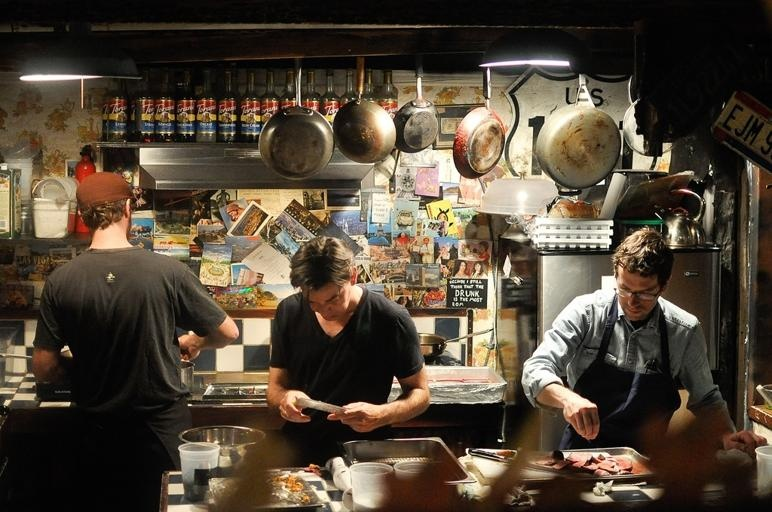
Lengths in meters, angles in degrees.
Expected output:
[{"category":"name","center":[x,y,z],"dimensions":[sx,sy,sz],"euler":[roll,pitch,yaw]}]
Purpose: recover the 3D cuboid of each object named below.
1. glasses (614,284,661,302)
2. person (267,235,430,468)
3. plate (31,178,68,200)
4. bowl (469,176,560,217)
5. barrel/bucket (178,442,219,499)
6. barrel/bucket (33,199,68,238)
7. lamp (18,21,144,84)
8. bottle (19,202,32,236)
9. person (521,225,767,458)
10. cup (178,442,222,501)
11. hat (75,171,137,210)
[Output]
[{"category":"glasses","center":[1.211,0.182,3.971],"dimensions":[0.187,0.051,0.094],"euler":[2,0,11]},{"category":"person","center":[-0.185,0.470,4.034],"dimensions":[0.803,0.966,0.430],"euler":[2,-1,3]},{"category":"plate","center":[-2.084,-0.407,5.159],"dimensions":[0.190,0.147,0.067],"euler":[-12,15,3]},{"category":"bowl","center":[0.738,-0.423,5.273],"dimensions":[0.615,0.185,0.552],"euler":[8,15,-7]},{"category":"barrel/bucket","center":[-0.711,0.846,3.330],"dimensions":[0.225,0.203,0.212],"euler":[1,-3,0]},{"category":"barrel/bucket","center":[-2.069,-0.228,5.121],"dimensions":[0.282,0.218,0.209],"euler":[-1,5,-20]},{"category":"lamp","center":[-1.306,-0.851,3.572],"dimensions":[0.472,0.228,0.186],"euler":[2,0,-20]},{"category":"bottle","center":[-2.238,-0.227,5.171],"dimensions":[0.076,0.218,0.043],"euler":[3,-1,-22]},{"category":"person","center":[1.133,0.414,3.957],"dimensions":[0.916,0.814,0.632],"euler":[2,-1,6]},{"category":"cup","center":[-0.714,0.845,3.281],"dimensions":[0.232,0.210,0.219],"euler":[1,-3,0]},{"category":"hat","center":[-1.395,-0.329,4.188],"dimensions":[0.184,0.113,0.250],"euler":[4,16,38]}]
